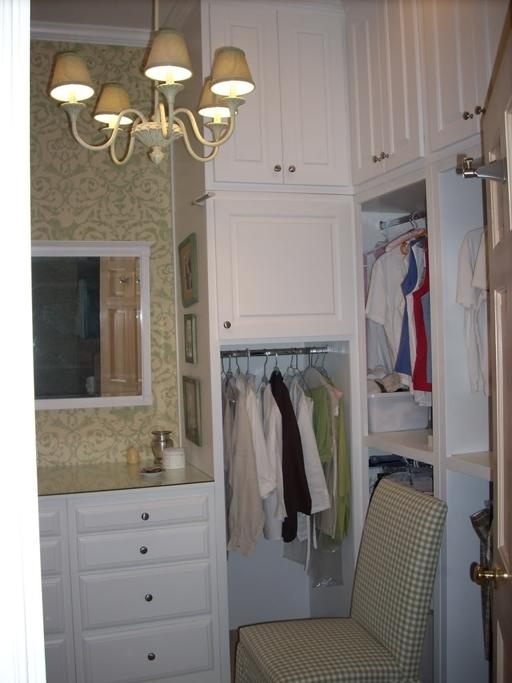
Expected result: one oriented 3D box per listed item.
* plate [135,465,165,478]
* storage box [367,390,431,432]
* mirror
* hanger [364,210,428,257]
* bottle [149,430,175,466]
[{"bbox_3d":[-0.458,0.573,2.620,0.107,0.037,0.152,-4,-1,-13],"label":"plate"},{"bbox_3d":[0.617,0.308,2.618,0.226,0.146,0.174,1,-7,-19],"label":"storage box"},{"bbox_3d":[-0.797,-0.081,2.841,0.645,0.852,0.038,-1,0,-15],"label":"mirror"},{"bbox_3d":[0.609,-0.471,2.668,0.111,0.182,0.401,-10,5,-12],"label":"hanger"},{"bbox_3d":[-0.475,0.512,2.868,0.117,0.181,0.123,0,-4,0],"label":"bottle"}]
